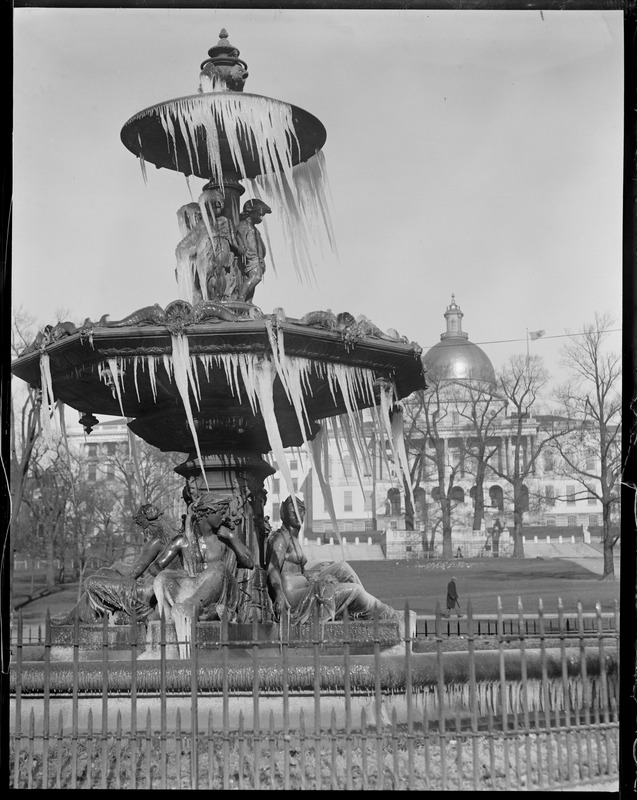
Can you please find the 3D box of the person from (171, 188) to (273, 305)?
[{"bbox_3d":[-0.770,-1.327,16.938,0.767,1.070,0.477,-7,-4,-5],"label":"person"}]

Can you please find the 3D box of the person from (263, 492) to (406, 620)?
[{"bbox_3d":[0.113,1.288,15.855,1.089,1.615,0.678,0,-12,4],"label":"person"}]
